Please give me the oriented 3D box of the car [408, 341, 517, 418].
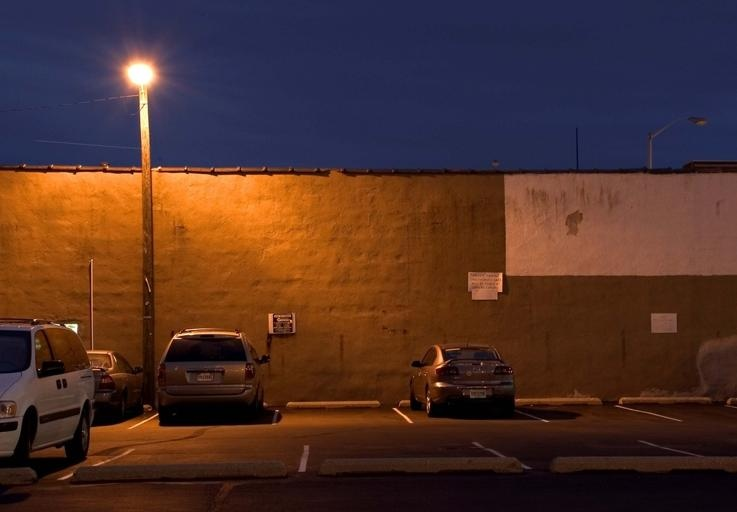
[{"bbox_3d":[2.309,3.306,29.403,1.816,1.977,2.912,-5,12,-25],"label":"car"}]
